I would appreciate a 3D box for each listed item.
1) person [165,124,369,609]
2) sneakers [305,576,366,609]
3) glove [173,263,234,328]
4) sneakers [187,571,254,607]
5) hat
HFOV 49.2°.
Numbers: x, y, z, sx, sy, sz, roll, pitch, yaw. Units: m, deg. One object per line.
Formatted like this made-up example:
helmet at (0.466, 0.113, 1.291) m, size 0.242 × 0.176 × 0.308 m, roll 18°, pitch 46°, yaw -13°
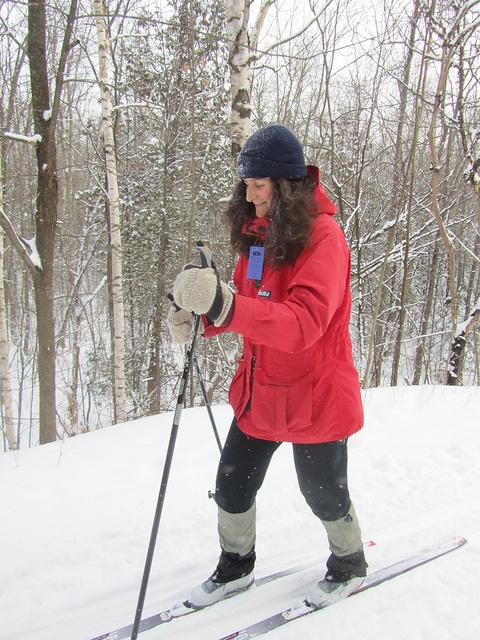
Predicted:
person at (0.190, 0.263, 2.389) m, size 0.877 × 2.285 × 0.825 m, roll 5°, pitch 6°, yaw 17°
sneakers at (0.468, 1.283, 2.553) m, size 0.299 × 0.128 × 0.102 m, roll -8°, pitch -18°, yaw -26°
glove at (-0.154, -0.107, 2.159) m, size 0.198 × 0.215 × 0.301 m, roll 1°, pitch 7°, yaw -20°
sneakers at (-0.104, 1.319, 2.625) m, size 0.328 × 0.149 × 0.111 m, roll -5°, pitch 0°, yaw -25°
hat at (0.141, -0.720, 2.318) m, size 0.251 × 0.206 × 0.261 m, roll 9°, pitch 18°, yaw 32°
